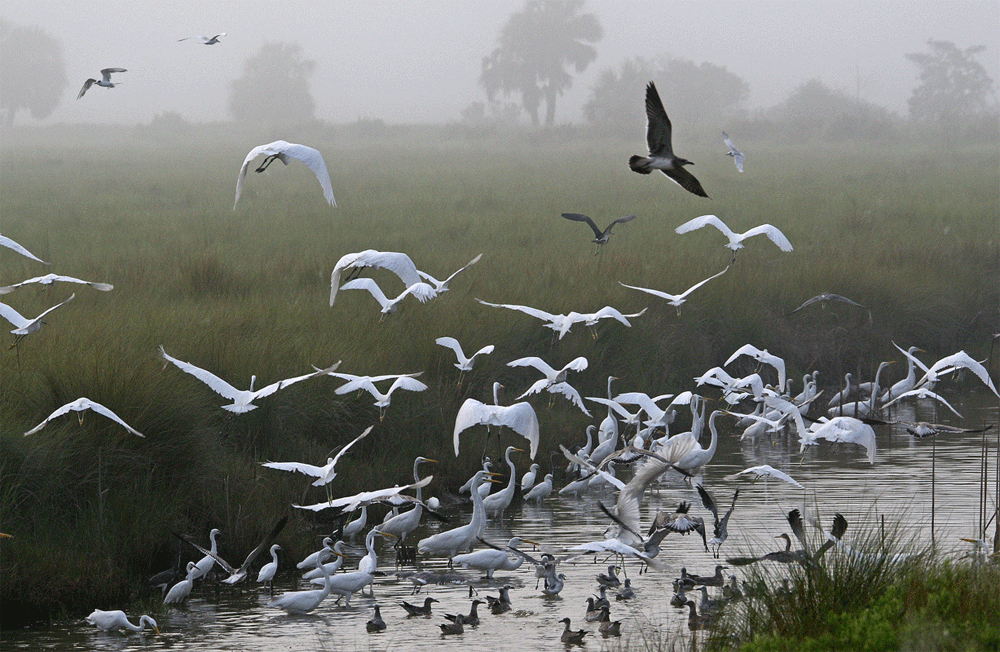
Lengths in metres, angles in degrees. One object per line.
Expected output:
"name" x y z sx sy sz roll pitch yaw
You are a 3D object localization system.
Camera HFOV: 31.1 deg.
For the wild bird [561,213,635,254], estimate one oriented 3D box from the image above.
"wild bird" 3.849 -3.693 71.102 2.096 0.914 1.557 1 -25 -11
